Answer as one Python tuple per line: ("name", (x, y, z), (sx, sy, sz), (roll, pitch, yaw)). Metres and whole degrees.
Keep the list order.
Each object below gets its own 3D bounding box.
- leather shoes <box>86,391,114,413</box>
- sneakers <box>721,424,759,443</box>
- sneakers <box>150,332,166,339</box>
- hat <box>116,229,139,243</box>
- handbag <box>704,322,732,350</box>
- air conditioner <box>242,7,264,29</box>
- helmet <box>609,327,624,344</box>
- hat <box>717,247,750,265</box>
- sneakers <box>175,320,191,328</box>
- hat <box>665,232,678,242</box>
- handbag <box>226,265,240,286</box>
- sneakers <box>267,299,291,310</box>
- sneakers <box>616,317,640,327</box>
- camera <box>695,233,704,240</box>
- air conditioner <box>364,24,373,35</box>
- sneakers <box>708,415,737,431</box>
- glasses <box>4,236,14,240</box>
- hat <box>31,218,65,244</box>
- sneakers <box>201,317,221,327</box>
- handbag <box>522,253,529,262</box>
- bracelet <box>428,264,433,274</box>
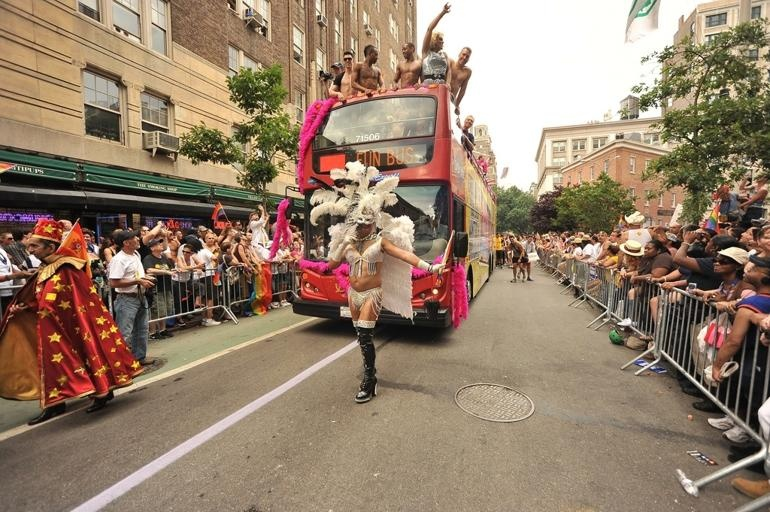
("leather shoes", (-4.988, 2.584, 8.588), (0.205, 0.300, 0.633), (9, 3, 18))
("sneakers", (5.709, 2.913, 7.781), (0.463, 0.208, 0.178), (-10, -3, 24))
("sneakers", (-5.257, 1.861, 11.132), (0.295, 0.131, 0.118), (2, -5, -7))
("hat", (-5.090, -0.337, 9.488), (0.233, 0.194, 0.333), (19, 38, 24))
("handbag", (5.645, 1.370, 8.202), (0.134, 0.367, 0.352), (9, 4, 12))
("air conditioner", (-6.018, -10.973, 22.110), (0.485, 0.844, 0.915), (2, 9, 31))
("helmet", (5.228, 1.861, 10.953), (0.232, 0.329, 0.332), (11, -13, 25))
("hat", (6.100, -0.008, 8.374), (0.396, 0.136, 0.287), (14, -1, -15))
("sneakers", (-5.054, 1.715, 12.090), (0.480, 0.220, 0.160), (-6, -5, 24))
("hat", (6.523, -0.460, 11.022), (0.225, 0.117, 0.308), (18, 11, 5))
("handbag", (-3.982, 0.514, 12.564), (0.159, 0.540, 0.329), (4, -4, -8))
("sneakers", (-3.095, 1.420, 14.030), (0.612, 0.278, 0.215), (-7, 6, -7))
("sneakers", (5.340, 1.485, 10.611), (0.413, 0.191, 0.145), (0, -1, -10))
("camera", (6.442, -0.405, 9.880), (0.110, 0.166, 0.145), (3, 14, -8))
("air conditioner", (-1.218, -15.997, 33.846), (0.428, 0.662, 1.305), (-1, 5, 10))
("sneakers", (5.612, 2.808, 8.012), (0.402, 0.181, 0.151), (-7, -1, 29))
("glasses", (-8.491, -0.403, 10.846), (0.078, 0.111, 0.108), (7, 18, 20))
("hat", (-5.812, -0.461, 8.350), (0.404, 0.462, 0.459), (14, 5, 6))
("sneakers", (-4.395, 1.675, 12.104), (0.463, 0.228, 0.182), (3, 0, -3))
("handbag", (5.921, 0.122, 20.240), (0.283, 0.317, 0.298), (-7, 7, 10))
("bracelet", (0.799, 0.237, 8.417), (0.092, 0.106, 0.104), (-1, 3, 7))
